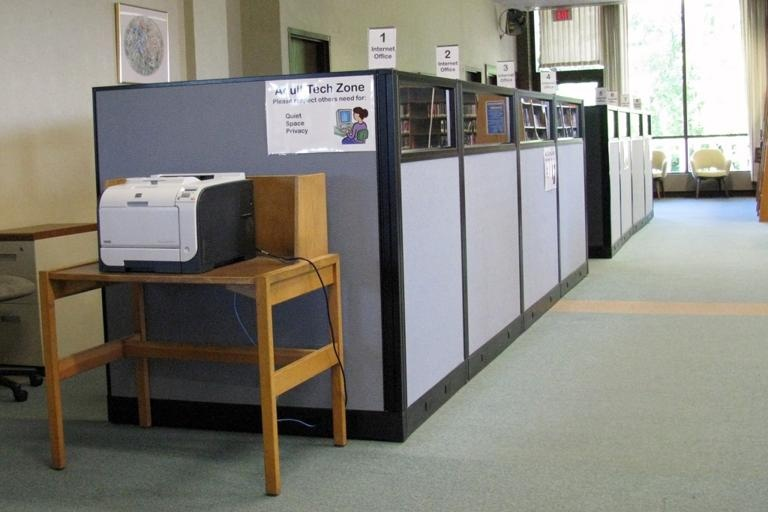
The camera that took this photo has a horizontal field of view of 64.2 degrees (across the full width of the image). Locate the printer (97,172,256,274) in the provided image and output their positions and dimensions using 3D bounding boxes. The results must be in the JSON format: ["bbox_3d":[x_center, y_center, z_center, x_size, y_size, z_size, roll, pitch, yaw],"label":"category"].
[{"bbox_3d":[-1.057,-0.154,3.090,0.680,0.508,0.497,1,2,22],"label":"printer"}]

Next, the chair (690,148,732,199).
[{"bbox_3d":[7.559,-1.933,14.313,1.057,1.384,1.071,0,5,14],"label":"chair"}]

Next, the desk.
[{"bbox_3d":[-0.955,0.414,3.485,1.774,1.361,1.160,1,3,20],"label":"desk"}]
